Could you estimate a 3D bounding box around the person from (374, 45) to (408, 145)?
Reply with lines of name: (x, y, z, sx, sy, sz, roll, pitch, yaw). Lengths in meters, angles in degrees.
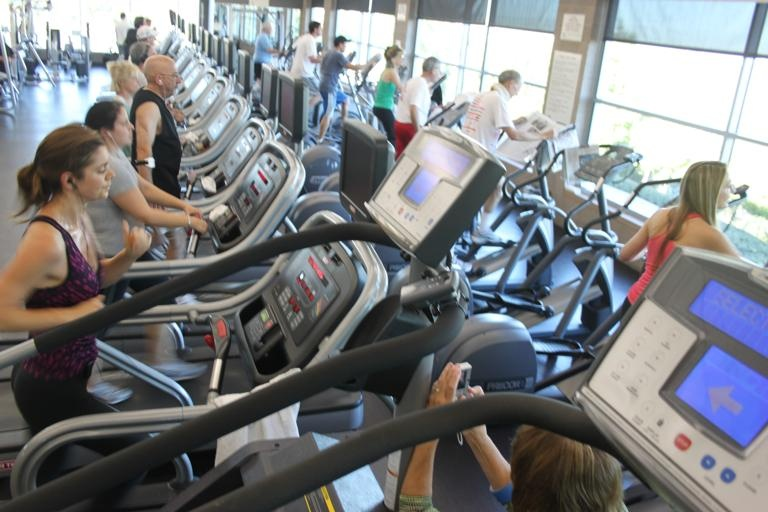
person: (0.169, -2.159, 7.777, 0.499, 1.704, 0.501, -8, 25, -21)

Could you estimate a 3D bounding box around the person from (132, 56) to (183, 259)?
person: (-1.622, -0.691, 4.084, 0.440, 1.567, 0.497, -3, 22, -8)

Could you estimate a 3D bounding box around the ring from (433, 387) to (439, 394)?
ring: (0.161, 0.425, 1.700, 0.019, 0.019, 0.013, -8, 20, -35)

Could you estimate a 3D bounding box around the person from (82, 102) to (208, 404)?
person: (-1.272, 0.059, 3.195, 0.786, 1.840, 0.791, -3, 20, -11)

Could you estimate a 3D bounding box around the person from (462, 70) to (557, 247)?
person: (1.404, -1.126, 5.992, 1.019, 1.849, 1.024, -12, 21, -40)

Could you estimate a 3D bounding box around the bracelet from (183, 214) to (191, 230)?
bracelet: (-1.224, -0.219, 3.301, 0.041, 0.109, 0.094, 3, -10, -22)

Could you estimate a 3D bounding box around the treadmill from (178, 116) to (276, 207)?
treadmill: (-1.296, -0.779, 4.399, 0.811, 1.027, 0.742, 1, 34, -20)

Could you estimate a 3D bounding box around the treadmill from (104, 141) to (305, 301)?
treadmill: (-1.006, -0.199, 3.367, 1.144, 0.687, 0.718, -21, 40, 9)
